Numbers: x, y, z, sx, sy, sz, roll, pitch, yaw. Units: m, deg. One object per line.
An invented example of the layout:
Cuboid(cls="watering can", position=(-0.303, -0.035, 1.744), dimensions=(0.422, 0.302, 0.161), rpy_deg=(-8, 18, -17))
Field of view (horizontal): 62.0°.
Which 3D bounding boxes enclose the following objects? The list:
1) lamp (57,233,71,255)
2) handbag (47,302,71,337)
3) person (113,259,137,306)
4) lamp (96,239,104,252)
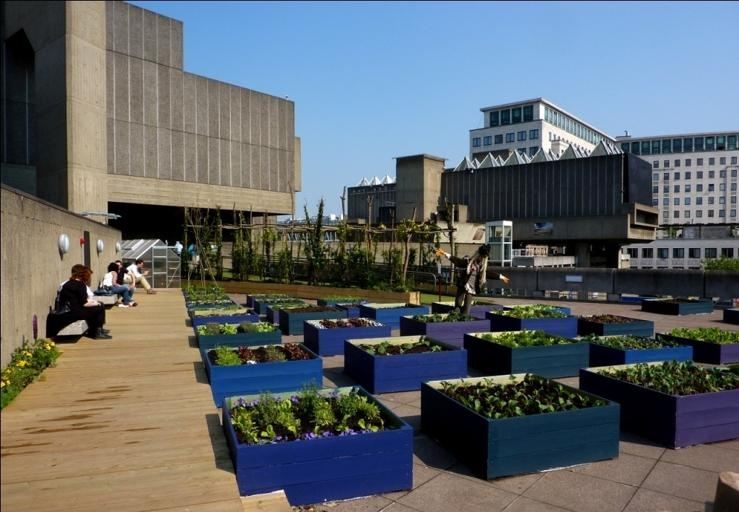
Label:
Cuboid(cls="lamp", position=(-7.559, -0.321, 15.186), dimensions=(0.232, 0.576, 0.526), rpy_deg=(-1, -5, 7))
Cuboid(cls="handbag", position=(-6.991, 1.465, 13.766), dimensions=(0.631, 0.774, 0.257), rpy_deg=(1, 2, 24))
Cuboid(cls="person", position=(-8.498, 0.897, 21.266), dimensions=(0.859, 1.573, 0.595), rpy_deg=(8, 17, 15))
Cuboid(cls="lamp", position=(-9.608, -0.270, 21.919), dimensions=(0.098, 0.748, 0.231), rpy_deg=(10, 20, 13))
